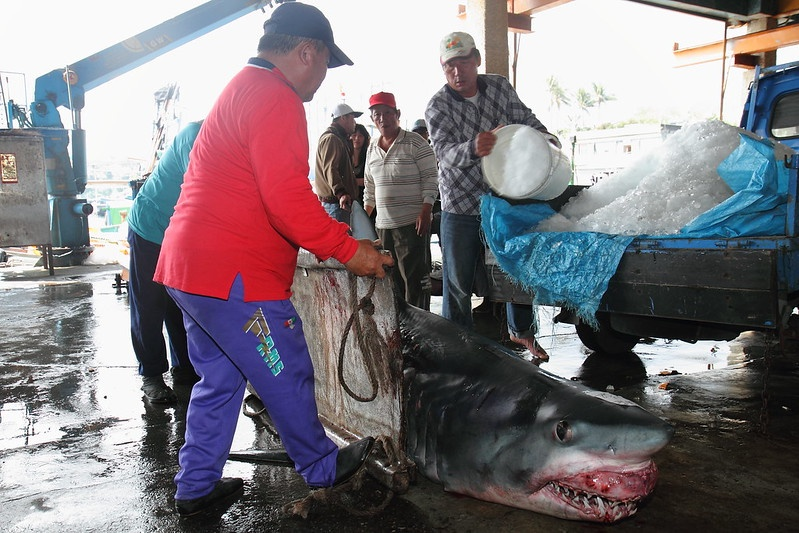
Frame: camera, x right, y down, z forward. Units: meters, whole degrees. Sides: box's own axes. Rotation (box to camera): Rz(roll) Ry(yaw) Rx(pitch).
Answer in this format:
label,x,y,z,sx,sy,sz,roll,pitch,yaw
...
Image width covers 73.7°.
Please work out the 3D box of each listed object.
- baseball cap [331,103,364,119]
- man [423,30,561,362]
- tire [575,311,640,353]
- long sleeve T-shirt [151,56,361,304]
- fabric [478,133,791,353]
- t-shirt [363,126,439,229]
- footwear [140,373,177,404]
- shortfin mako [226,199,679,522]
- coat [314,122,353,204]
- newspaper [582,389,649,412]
label,x,y,z,sx,sy,sz,roll,pitch,yaw
baseball cap,-0.698,-2.085,7.170,0.378,0.208,0.243,-16,17,-8
man,1.126,-0.829,5.388,0.993,2.410,1.090,-8,12,-21
tire,1.892,0.596,4.859,0.483,0.497,0.141,-6,22,-36
long sleeve T-shirt,-0.915,-0.564,3.255,0.921,1.358,1.330,3,11,-34
fabric,2.008,-0.332,4.182,1.845,1.168,1.785,-17,18,-35
t-shirt,-0.025,-1.013,6.270,1.008,1.151,0.620,0,3,36
footwear,-2.053,1.054,4.561,0.385,0.173,0.152,1,1,45
shortfin mako,0.282,0.690,3.750,1.084,1.461,3.211,-13,-1,-30
coat,-0.791,-1.236,6.630,0.509,0.920,1.105,-1,7,-6
newspaper,1.155,0.728,2.876,0.307,0.072,0.200,4,12,26
